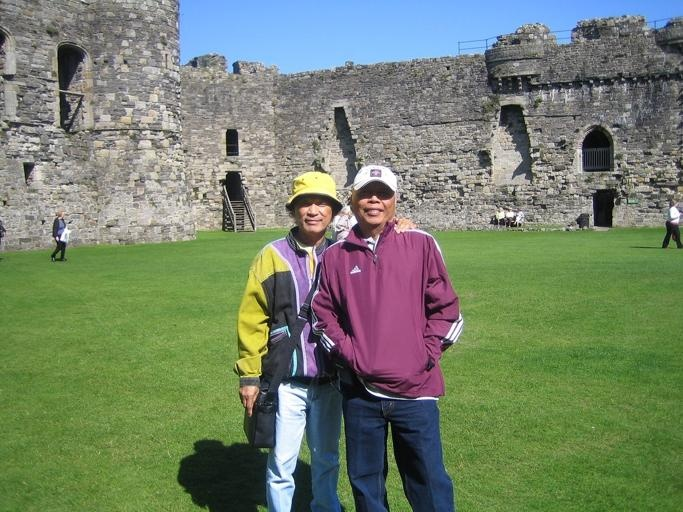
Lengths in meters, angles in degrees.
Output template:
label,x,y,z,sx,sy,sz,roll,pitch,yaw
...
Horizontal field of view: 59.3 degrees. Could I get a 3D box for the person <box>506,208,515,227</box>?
label,x,y,z,sx,sy,sz,roll,pitch,yaw
person,8.625,-1.940,30.877,0.410,0.876,0.326,1,-11,3

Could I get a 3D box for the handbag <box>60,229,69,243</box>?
label,x,y,z,sx,sy,sz,roll,pitch,yaw
handbag,-8.647,-0.627,18.781,0.213,0.454,0.753,-5,10,-19

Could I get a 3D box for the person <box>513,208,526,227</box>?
label,x,y,z,sx,sy,sz,roll,pitch,yaw
person,9.164,-1.902,31.058,0.385,0.704,1.471,3,11,25

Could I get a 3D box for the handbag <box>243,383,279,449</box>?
label,x,y,z,sx,sy,sz,roll,pitch,yaw
handbag,-0.565,1.131,4.289,0.171,0.436,0.450,6,-3,-18

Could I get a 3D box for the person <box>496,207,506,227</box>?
label,x,y,z,sx,sy,sz,roll,pitch,yaw
person,8.332,-1.980,31.506,0.465,0.687,1.434,1,10,14
